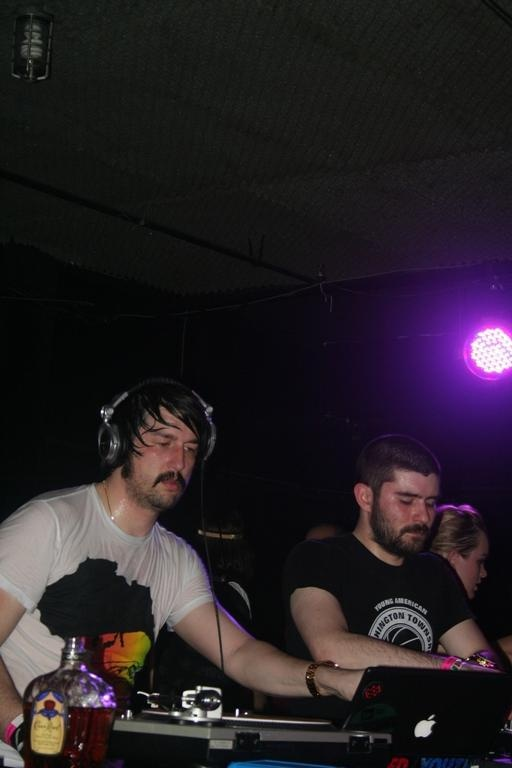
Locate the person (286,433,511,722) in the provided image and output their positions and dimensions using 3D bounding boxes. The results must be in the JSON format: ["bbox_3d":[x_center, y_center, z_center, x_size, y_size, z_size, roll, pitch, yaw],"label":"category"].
[{"bbox_3d":[0.406,0.564,2.003,0.644,0.831,0.612,14,-18,-29],"label":"person"}]

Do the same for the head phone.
[{"bbox_3d":[-0.304,0.099,1.916,0.249,0.136,0.268,23,-31,-30],"label":"head phone"}]
